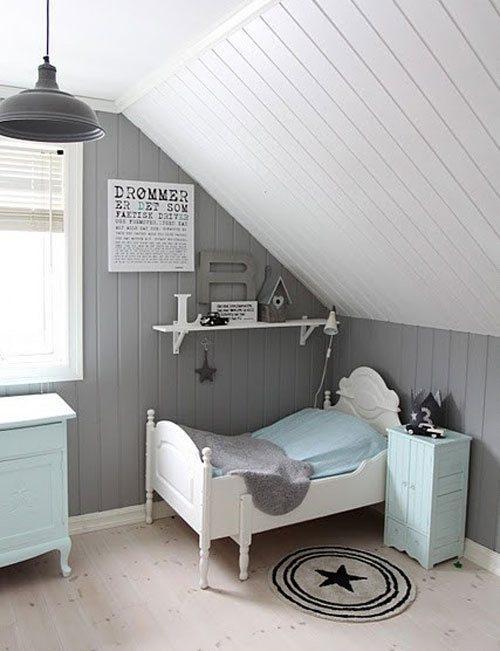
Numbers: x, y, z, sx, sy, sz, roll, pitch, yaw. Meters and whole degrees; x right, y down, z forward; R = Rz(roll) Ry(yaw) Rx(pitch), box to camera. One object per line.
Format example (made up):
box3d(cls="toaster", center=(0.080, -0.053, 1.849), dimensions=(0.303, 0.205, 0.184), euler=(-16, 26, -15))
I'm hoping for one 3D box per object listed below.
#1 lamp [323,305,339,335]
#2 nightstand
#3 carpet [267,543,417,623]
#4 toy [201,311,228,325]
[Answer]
box3d(cls="lamp", center=(0.553, -0.037, 3.613), dimensions=(0.081, 0.086, 0.179), euler=(7, 36, 10))
box3d(cls="nightstand", center=(0.928, 0.869, 2.801), dimensions=(0.312, 0.649, 0.364), euler=(2, 0, -29))
box3d(cls="carpet", center=(0.440, 1.202, 2.529), dimensions=(0.661, 0.012, 0.665), euler=(3, 4, 40))
box3d(cls="toy", center=(-0.215, -0.041, 3.161), dimensions=(0.118, 0.052, 0.076), euler=(0, 0, -31))
